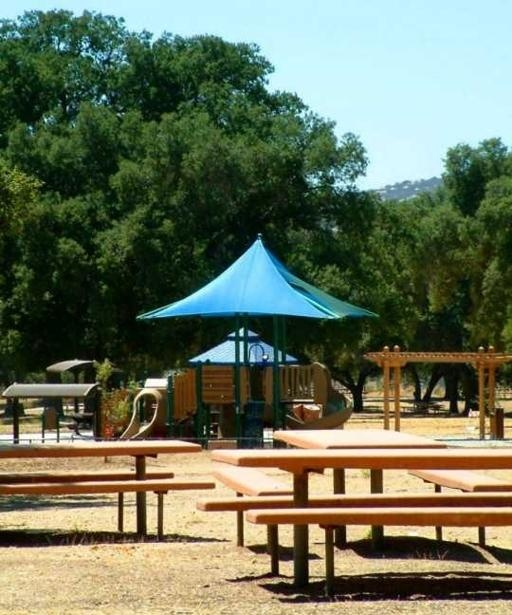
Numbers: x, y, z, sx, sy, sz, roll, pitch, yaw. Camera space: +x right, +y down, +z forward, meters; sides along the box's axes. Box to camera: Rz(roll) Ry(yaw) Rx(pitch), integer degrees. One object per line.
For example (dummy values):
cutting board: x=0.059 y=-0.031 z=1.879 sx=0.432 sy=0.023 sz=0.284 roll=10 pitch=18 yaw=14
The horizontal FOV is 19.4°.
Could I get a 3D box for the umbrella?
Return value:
umbrella: x=-0.122 y=1.563 z=30.517 sx=3.320 sy=4.087 sz=5.070 roll=-1 pitch=-2 yaw=20
